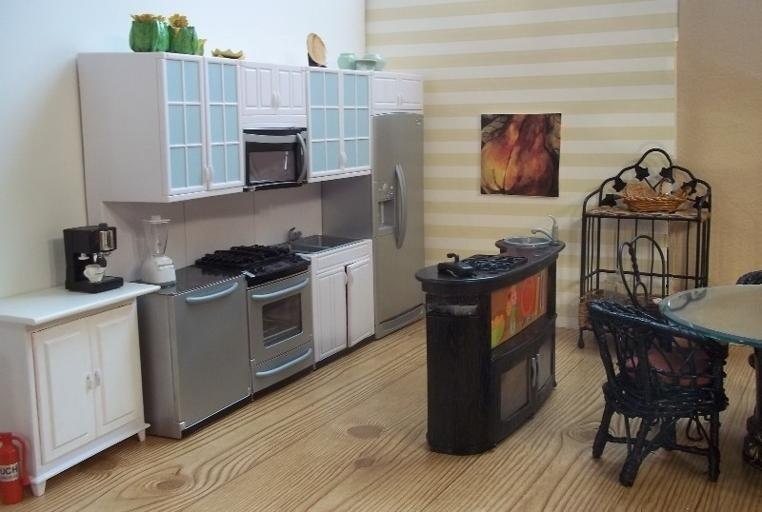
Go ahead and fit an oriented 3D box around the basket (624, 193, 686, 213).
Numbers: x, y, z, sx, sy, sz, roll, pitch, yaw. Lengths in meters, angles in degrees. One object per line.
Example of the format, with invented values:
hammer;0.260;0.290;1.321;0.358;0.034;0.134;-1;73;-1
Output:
basket;2.654;-0.498;5.781;0.544;0.165;0.152;3;14;25

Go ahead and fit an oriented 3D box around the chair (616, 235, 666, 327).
chair;2.173;0.132;5.046;0.331;0.551;0.376;0;6;34

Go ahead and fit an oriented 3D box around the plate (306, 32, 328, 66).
plate;-0.654;-2.065;5.939;0.184;0.352;0.468;-5;12;-7

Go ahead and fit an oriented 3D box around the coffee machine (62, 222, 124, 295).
coffee machine;-2.093;0.023;4.306;0.351;0.420;0.324;-1;3;17

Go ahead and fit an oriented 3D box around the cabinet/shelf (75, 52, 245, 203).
cabinet/shelf;-1.765;-1.042;4.849;0.864;1.075;1.151;6;15;15

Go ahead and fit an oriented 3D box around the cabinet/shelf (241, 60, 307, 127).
cabinet/shelf;-0.988;-1.390;5.130;0.301;0.525;0.657;17;22;40

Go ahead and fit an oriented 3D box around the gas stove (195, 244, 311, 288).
gas stove;-1.162;0.073;5.173;0.675;0.245;0.896;5;14;33

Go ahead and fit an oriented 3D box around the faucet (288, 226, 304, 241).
faucet;-0.879;-0.217;6.018;0.105;0.153;0.150;-1;-4;8

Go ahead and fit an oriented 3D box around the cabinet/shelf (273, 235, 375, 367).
cabinet/shelf;-0.621;0.427;6.016;0.829;1.123;1.012;6;12;32

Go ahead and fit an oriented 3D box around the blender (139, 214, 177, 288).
blender;-1.764;-0.055;4.614;0.258;0.503;0.530;-8;13;-19

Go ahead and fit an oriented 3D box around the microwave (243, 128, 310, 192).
microwave;-1.017;-0.856;5.248;0.490;0.502;0.749;9;16;44

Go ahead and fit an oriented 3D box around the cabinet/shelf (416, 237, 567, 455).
cabinet/shelf;0.963;0.671;4.945;0.792;1.450;1.939;4;9;32

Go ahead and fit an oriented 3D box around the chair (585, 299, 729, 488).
chair;1.891;0.872;4.018;0.795;1.200;0.794;7;16;37
